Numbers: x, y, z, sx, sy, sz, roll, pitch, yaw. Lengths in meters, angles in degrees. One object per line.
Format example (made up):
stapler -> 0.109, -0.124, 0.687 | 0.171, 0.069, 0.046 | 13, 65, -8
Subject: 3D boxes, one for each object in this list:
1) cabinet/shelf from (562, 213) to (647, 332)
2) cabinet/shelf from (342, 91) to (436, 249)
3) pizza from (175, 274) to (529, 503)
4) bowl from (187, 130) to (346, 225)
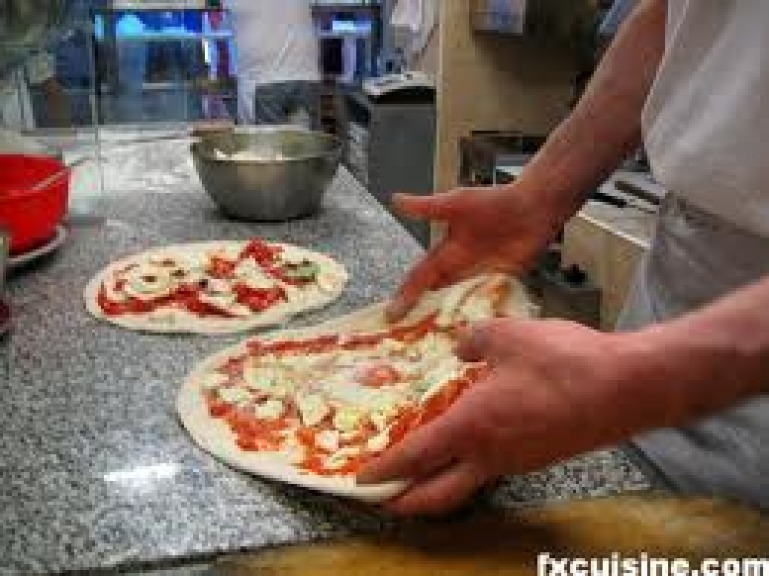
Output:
cabinet/shelf -> 0.800, -0.061, 1.962 | 0.203, 0.365, 0.370 | -1, 24, -11
cabinet/shelf -> 0.055, -0.657, 2.822 | 0.410, 0.949, 0.999 | -3, 21, -10
pizza -> -0.057, 0.160, 0.903 | 0.426, 0.063, 0.340 | -19, 31, -34
bowl -> -0.328, -0.334, 1.558 | 0.412, 0.213, 0.409 | 3, 30, -2
